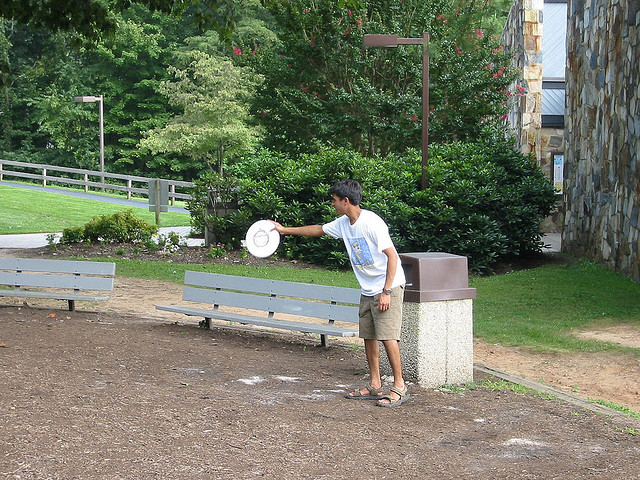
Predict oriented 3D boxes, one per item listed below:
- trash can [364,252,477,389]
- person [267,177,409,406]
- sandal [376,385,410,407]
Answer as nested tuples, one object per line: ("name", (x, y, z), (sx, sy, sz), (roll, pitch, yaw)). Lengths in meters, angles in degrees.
("trash can", (1.595, 1.490, 19.487), (1.651, 2.445, 1.591), (-4, -8, 42))
("person", (0.743, 0.885, 18.294), (1.628, 3.776, 0.584), (2, 3, 5))
("sandal", (1.279, 2.661, 18.224), (0.607, 0.217, 0.248), (-3, 3, -37))
